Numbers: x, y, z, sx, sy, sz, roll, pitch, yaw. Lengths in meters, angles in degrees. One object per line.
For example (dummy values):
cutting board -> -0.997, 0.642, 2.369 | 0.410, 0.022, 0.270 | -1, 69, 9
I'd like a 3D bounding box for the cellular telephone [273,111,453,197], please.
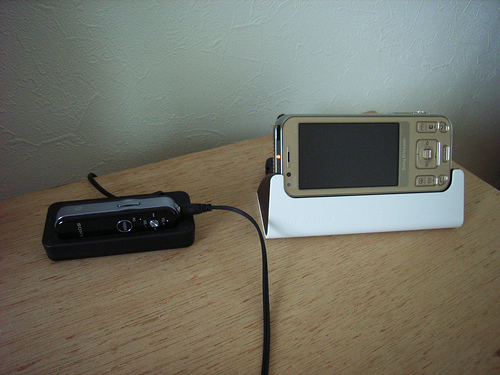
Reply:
cellular telephone -> 0.167, -0.052, 0.695 | 0.329, 0.130, 0.057 | -4, 7, -25
